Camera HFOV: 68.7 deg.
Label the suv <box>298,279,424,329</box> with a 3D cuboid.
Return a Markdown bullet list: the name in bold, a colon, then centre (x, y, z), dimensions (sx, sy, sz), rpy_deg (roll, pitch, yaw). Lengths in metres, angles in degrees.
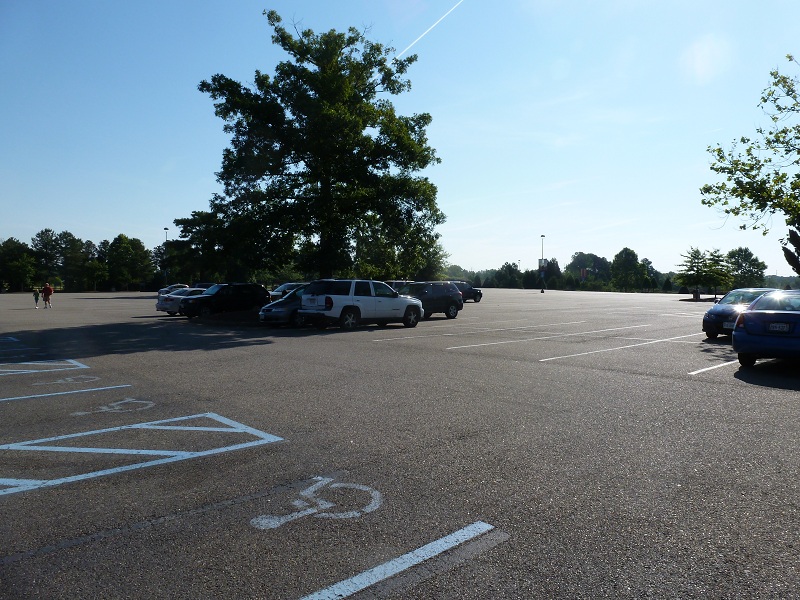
- **suv**: centre (-1.504, 0.187, 22.262), dimensions (3.858, 1.705, 1.892), rpy_deg (-4, 4, -36)

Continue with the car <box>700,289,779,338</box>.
- **car**: centre (10.283, 0.394, 17.997), dimensions (2.434, 0.936, 1.116), rpy_deg (-1, -5, -38)
